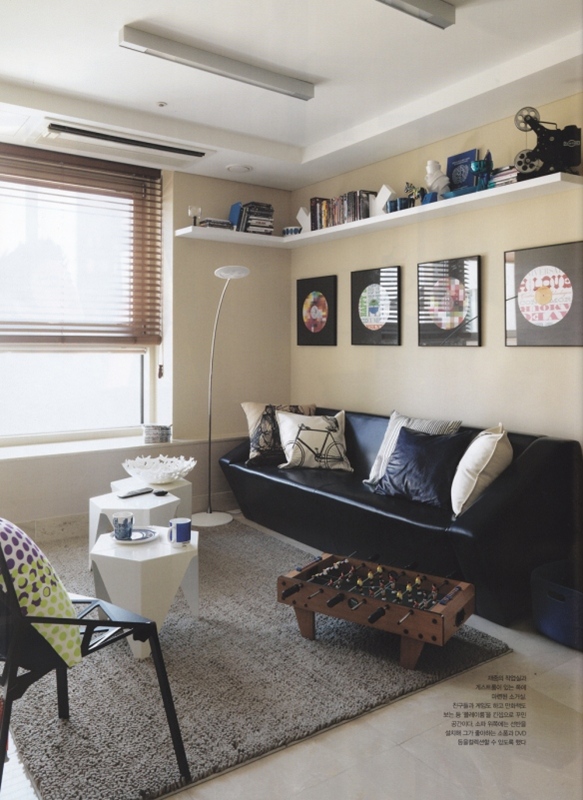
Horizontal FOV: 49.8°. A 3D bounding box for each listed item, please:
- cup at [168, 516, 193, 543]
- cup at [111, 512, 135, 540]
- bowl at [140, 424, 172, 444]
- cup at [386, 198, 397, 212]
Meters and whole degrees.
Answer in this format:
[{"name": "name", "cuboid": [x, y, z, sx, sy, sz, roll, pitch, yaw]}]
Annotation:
[{"name": "cup", "cuboid": [-0.425, 0.498, 2.431, 0.068, 0.080, 0.109, 4, 6, 22]}, {"name": "cup", "cuboid": [-0.651, 0.495, 2.470, 0.075, 0.088, 0.088, 3, 1, 43]}, {"name": "bowl", "cuboid": [-0.907, 0.224, 4.235, 0.149, 0.095, 0.119, -2, 5, -37]}, {"name": "cup", "cuboid": [0.588, -1.134, 3.660, 0.075, 0.085, 0.076, 1, -2, 0]}]
